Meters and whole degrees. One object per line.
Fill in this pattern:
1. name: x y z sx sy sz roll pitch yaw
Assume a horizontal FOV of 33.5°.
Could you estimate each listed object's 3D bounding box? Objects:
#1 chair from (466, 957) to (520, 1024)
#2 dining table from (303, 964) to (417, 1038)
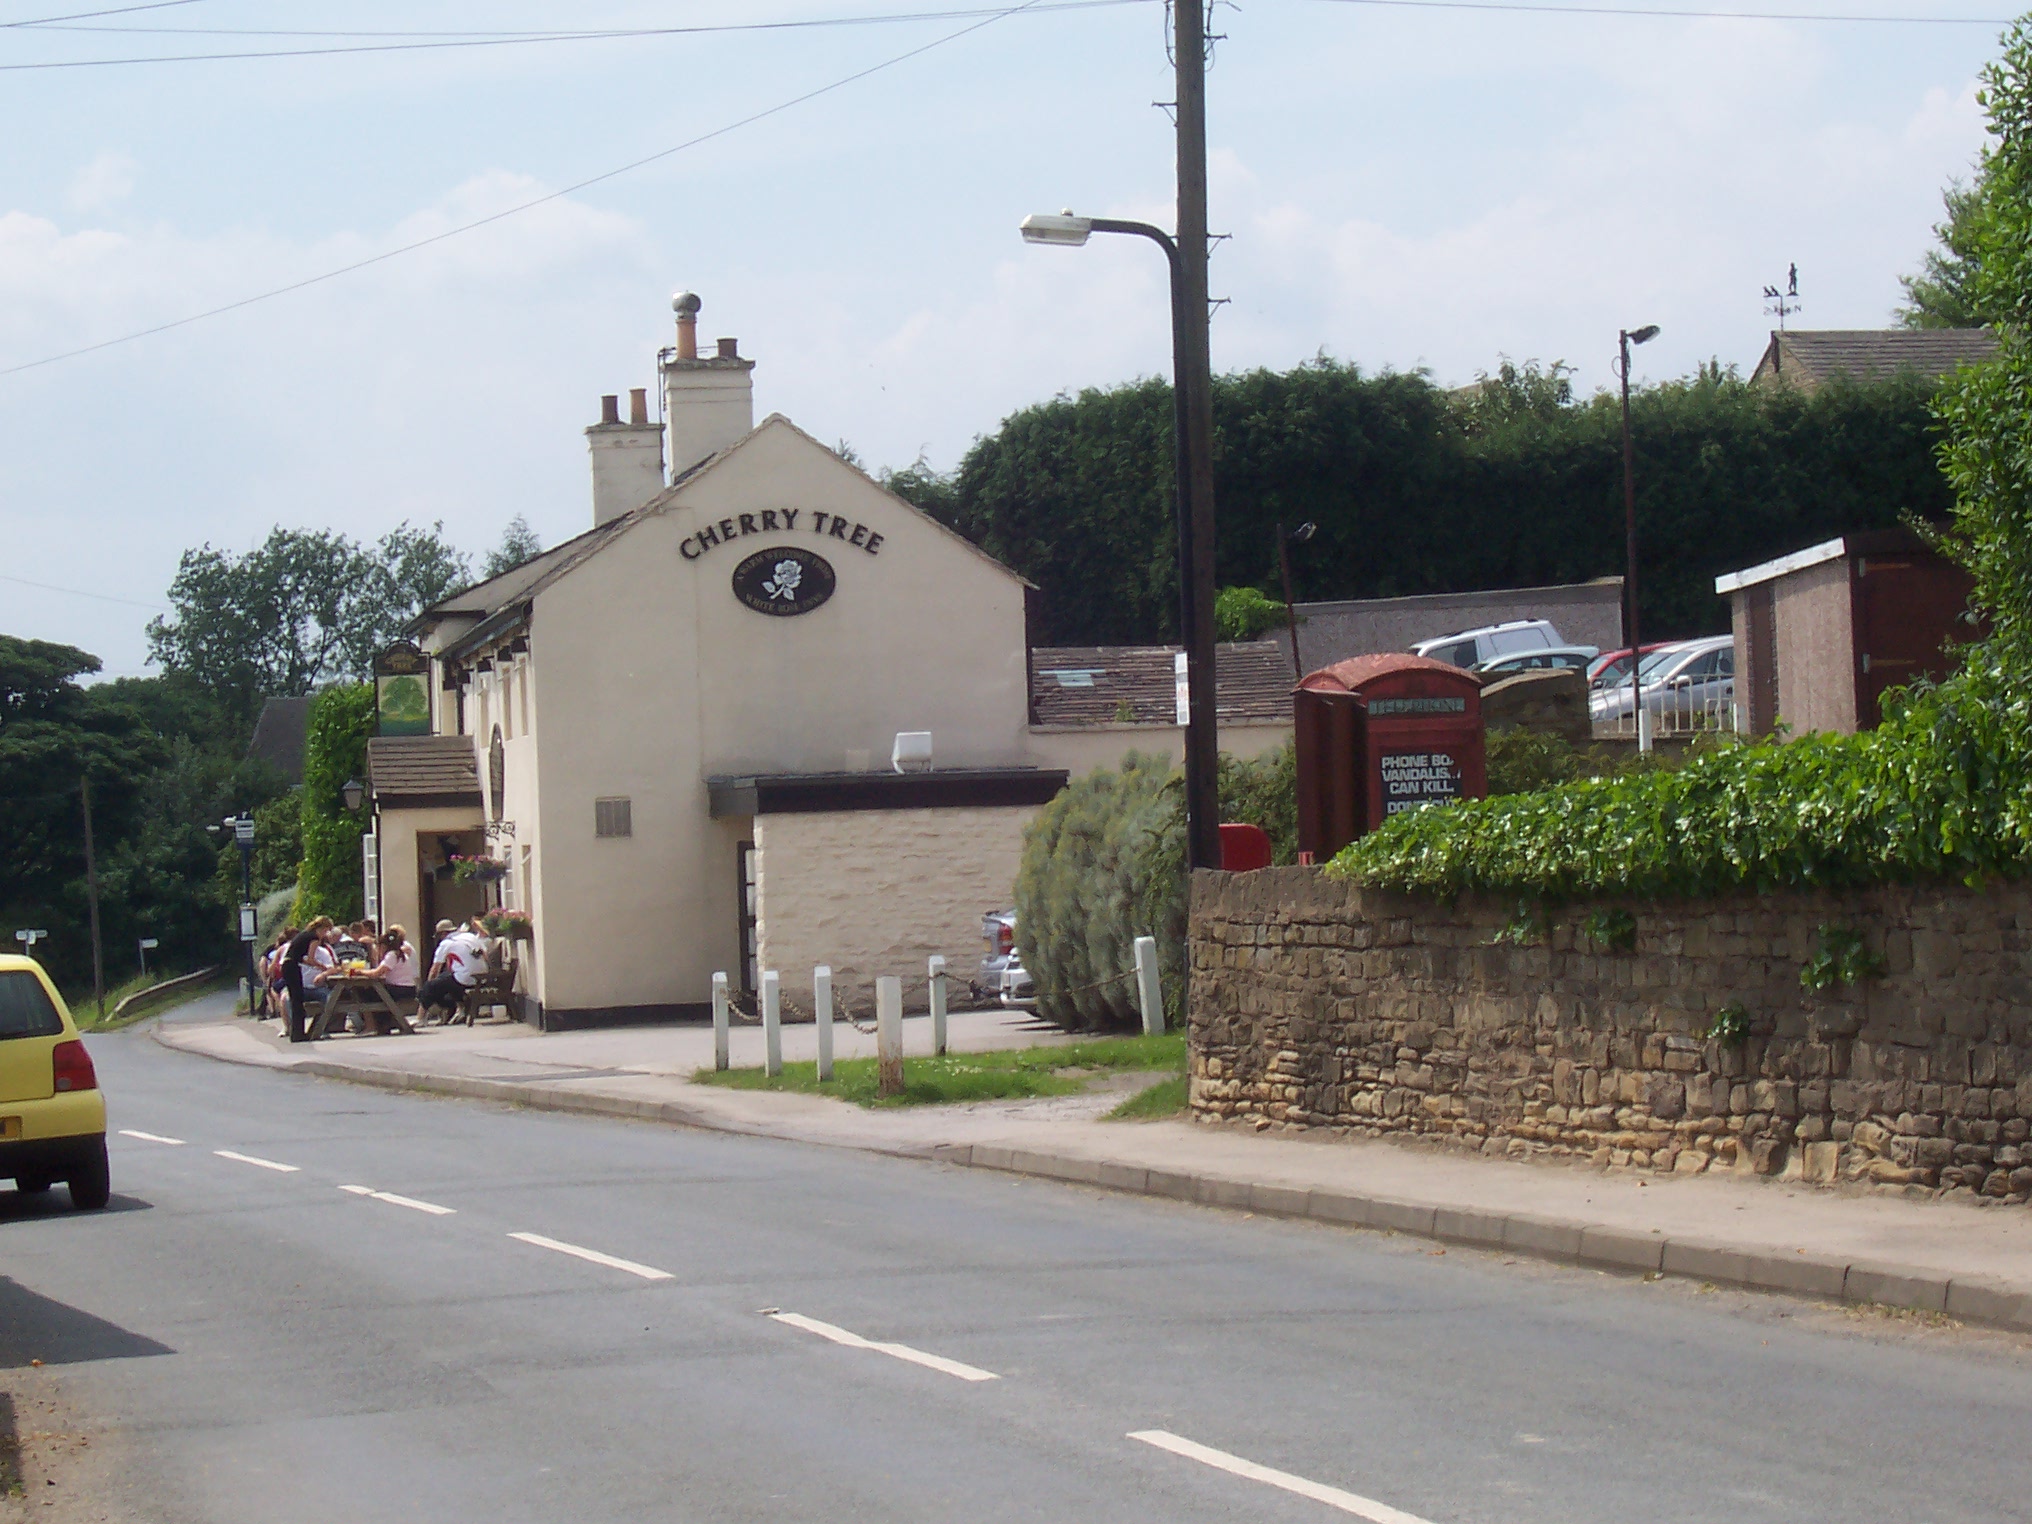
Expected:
1. chair: -7.446 3.276 48.119 0.770 1.167 0.785 2 -7 -14
2. dining table: -8.805 3.260 45.394 0.898 0.610 1.129 0 1 -30
